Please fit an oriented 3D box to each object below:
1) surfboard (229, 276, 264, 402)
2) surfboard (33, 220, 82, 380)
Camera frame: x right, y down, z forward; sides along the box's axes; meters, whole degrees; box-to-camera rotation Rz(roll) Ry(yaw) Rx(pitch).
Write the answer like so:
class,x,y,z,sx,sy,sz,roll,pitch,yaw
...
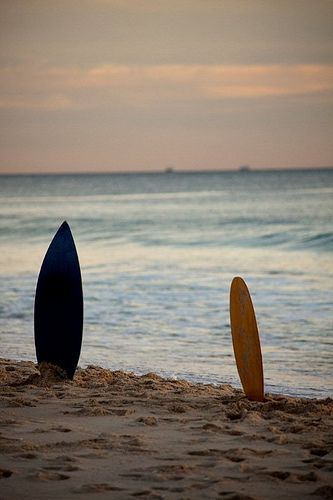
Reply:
class,x,y,z,sx,sy,sz,roll,pitch,yaw
surfboard,1.949,2.293,29.532,0.348,3.100,0.970,-7,9,-28
surfboard,-2.805,1.519,30.193,1.266,5.081,0.443,5,-37,-9
